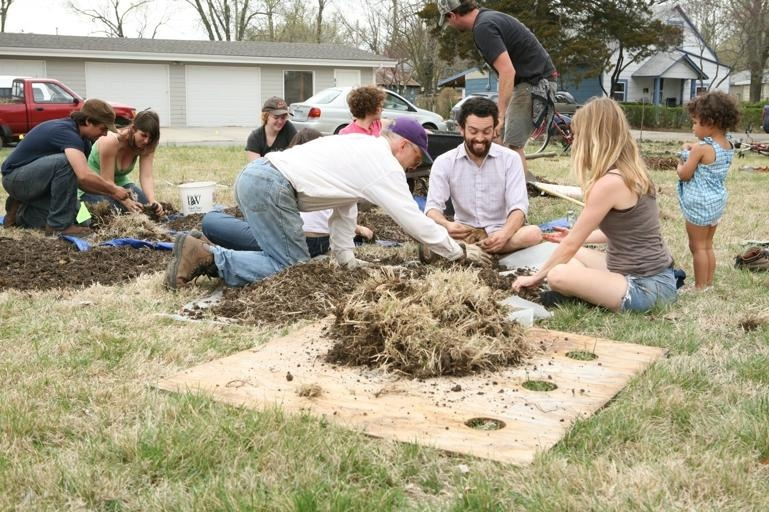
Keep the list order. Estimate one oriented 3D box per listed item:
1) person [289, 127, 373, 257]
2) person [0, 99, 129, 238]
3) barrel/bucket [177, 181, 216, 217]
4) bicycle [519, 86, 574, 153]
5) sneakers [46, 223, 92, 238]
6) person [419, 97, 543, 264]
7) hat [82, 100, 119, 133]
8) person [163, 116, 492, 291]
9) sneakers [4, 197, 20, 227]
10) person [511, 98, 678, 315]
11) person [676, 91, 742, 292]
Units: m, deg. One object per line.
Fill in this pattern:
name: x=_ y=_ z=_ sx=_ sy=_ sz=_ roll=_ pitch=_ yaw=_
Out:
person: x=-0.582 y=-0.574 z=6.716 sx=0.968 sy=1.158 sz=0.926 roll=-3 pitch=3 yaw=13
person: x=-3.056 y=-1.035 z=7.804 sx=1.541 sy=1.432 sz=1.117 roll=-1 pitch=36 yaw=-26
barrel/bucket: x=-2.031 y=-0.600 z=8.265 sx=0.525 sy=0.360 sz=0.451 roll=-2 pitch=8 yaw=-26
bicycle: x=2.999 y=-2.578 z=14.074 sx=1.019 sy=1.207 sz=2.032 roll=11 pitch=20 yaw=8
sneakers: x=-3.079 y=-0.249 z=7.452 sx=0.410 sy=0.121 sz=0.270 roll=-3 pitch=8 yaw=-23
person: x=0.802 y=-0.626 z=6.421 sx=1.095 sy=1.219 sz=0.871 roll=-3 pitch=15 yaw=3
hat: x=-2.856 y=-1.396 z=7.619 sx=0.360 sy=0.185 sz=0.254 roll=24 pitch=19 yaw=-18
person: x=-0.384 y=-0.404 z=5.958 sx=2.540 sy=1.109 sz=1.000 roll=-1 pitch=16 yaw=-6
sneakers: x=-3.780 y=-0.443 z=7.744 sx=0.166 sy=0.259 sz=0.259 roll=9 pitch=38 yaw=-31
person: x=1.509 y=-0.369 z=5.583 sx=1.145 sy=1.467 sz=1.043 roll=-10 pitch=16 yaw=-31
person: x=2.595 y=-0.565 z=6.194 sx=0.448 sy=1.537 sz=0.847 roll=4 pitch=8 yaw=23
